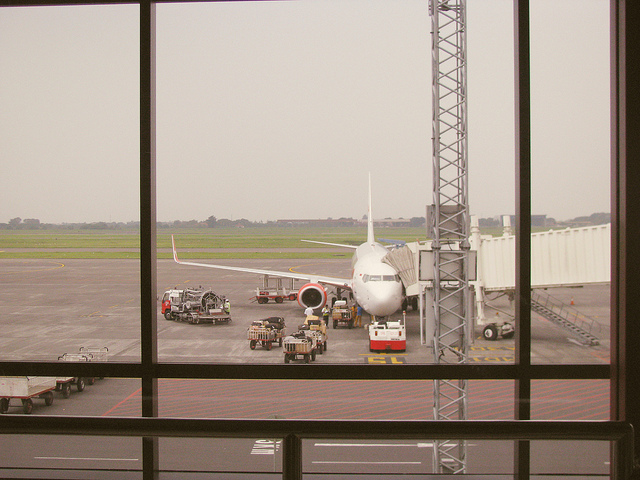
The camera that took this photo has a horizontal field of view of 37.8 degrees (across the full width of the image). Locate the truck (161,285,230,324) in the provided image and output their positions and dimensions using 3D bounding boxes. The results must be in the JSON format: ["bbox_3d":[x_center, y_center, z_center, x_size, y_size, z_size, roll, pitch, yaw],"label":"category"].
[{"bbox_3d":[-4.946,2.352,34.111,1.390,1.070,2.442,2,0,-40],"label":"truck"}]
